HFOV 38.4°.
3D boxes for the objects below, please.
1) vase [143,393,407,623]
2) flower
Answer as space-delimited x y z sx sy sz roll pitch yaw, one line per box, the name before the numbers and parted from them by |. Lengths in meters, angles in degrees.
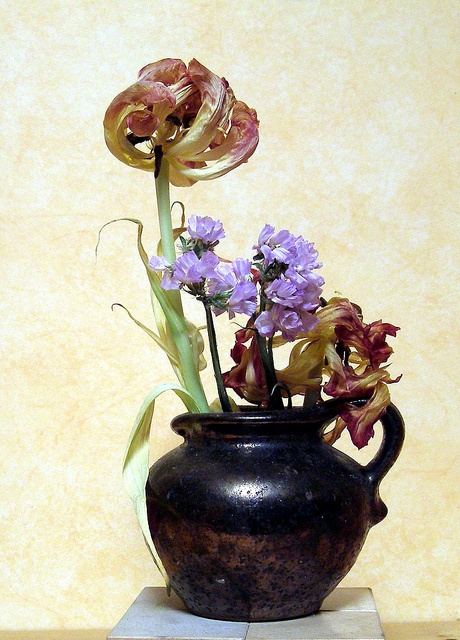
vase | 0.033 0.166 0.604 0.258 0.188 0.155 -4 83 6
flower | 0.016 -0.020 0.672 0.310 0.406 0.230 10 17 6
